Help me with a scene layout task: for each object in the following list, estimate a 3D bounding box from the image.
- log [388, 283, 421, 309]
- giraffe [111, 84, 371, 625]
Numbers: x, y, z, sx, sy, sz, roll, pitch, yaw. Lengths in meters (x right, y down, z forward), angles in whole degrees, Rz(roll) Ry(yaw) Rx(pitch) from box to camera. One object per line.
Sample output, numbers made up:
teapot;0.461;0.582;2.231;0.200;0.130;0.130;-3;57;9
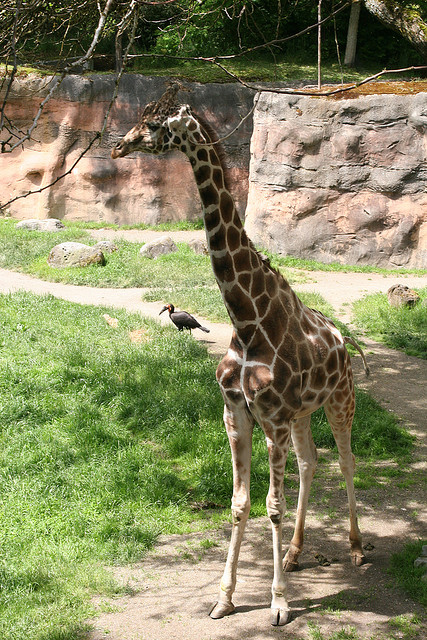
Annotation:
log;3.466;-0.449;14.081;0.306;0.401;0.845;-10;4;-5
giraffe;0.335;0.224;5.396;1.865;3.493;1.004;-3;9;-41
